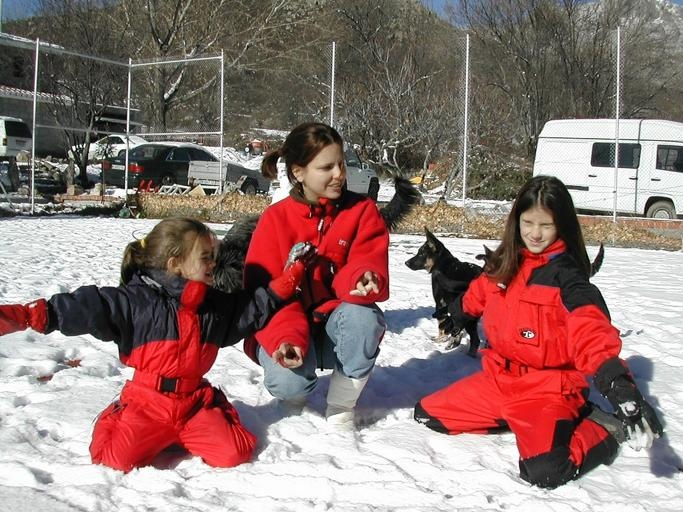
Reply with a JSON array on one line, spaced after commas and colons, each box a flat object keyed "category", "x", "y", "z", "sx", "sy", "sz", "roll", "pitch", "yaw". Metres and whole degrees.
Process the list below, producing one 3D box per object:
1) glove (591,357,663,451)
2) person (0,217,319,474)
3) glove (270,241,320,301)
[{"category": "glove", "x": 1.337, "y": 0.686, "z": 2.617, "sx": 0.258, "sy": 0.436, "sz": 0.114, "roll": -32, "pitch": -15, "yaw": 4}, {"category": "person", "x": -0.963, "y": 0.537, "z": 2.987, "sx": 1.219, "sy": 1.004, "sz": 0.405, "roll": 6, "pitch": -12, "yaw": -33}, {"category": "glove", "x": -0.254, "y": 0.085, "z": 2.929, "sx": 0.194, "sy": 0.345, "sz": 0.134, "roll": 30, "pitch": 10, "yaw": 5}]
